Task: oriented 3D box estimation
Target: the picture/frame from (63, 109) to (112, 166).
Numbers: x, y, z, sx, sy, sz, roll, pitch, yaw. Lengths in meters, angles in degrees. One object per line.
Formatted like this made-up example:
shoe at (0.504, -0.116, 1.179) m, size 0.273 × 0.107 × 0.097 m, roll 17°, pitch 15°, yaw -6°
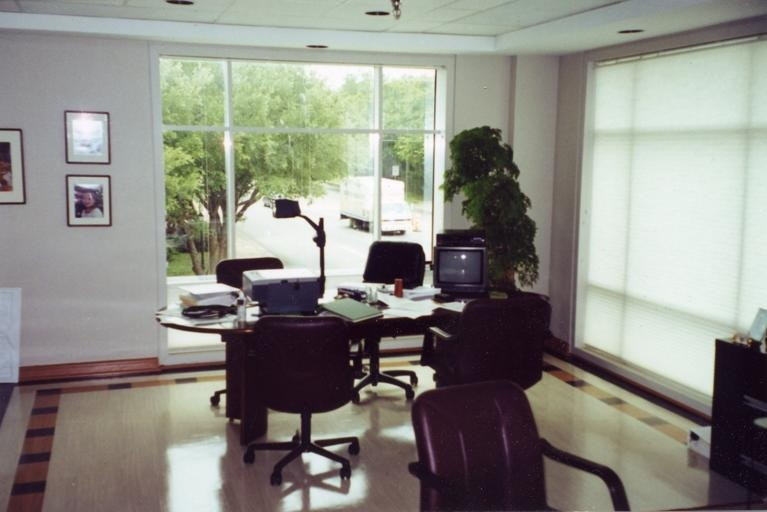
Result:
picture/frame at (-3.186, -1.295, 6.335) m, size 0.631 × 0.774 × 0.052 m, roll -1°, pitch 2°, yaw -22°

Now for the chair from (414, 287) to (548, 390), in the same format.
chair at (0.947, 0.646, 5.272) m, size 0.927 × 1.086 × 0.924 m, roll -2°, pitch 10°, yaw -16°

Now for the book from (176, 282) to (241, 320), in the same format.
book at (-1.499, 0.387, 5.166) m, size 0.331 × 0.143 × 0.402 m, roll 9°, pitch 10°, yaw 40°

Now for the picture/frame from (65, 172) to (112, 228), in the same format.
picture/frame at (-3.207, -0.621, 6.392) m, size 0.621 × 0.769 × 0.030 m, roll -2°, pitch 7°, yaw -12°
